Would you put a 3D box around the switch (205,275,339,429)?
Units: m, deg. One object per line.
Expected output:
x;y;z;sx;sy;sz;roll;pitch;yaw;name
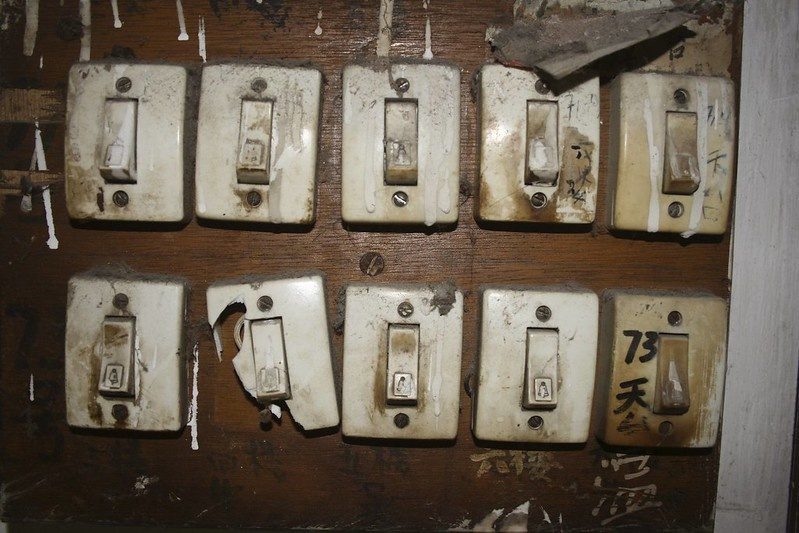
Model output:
-0.332;0.222;2.445;0.327;0.400;0.101;-2;6;-9;switch

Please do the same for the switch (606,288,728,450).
0.697;0.267;2.445;0.373;0.514;0.165;2;-2;0;switch

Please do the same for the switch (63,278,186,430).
-0.719;0.227;2.435;0.367;0.510;0.156;0;1;-1;switch

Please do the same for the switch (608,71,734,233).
0.711;-0.303;2.424;0.371;0.528;0.155;2;5;-2;switch

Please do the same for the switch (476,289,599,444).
0.356;0.257;2.428;0.351;0.488;0.146;3;1;-1;switch
